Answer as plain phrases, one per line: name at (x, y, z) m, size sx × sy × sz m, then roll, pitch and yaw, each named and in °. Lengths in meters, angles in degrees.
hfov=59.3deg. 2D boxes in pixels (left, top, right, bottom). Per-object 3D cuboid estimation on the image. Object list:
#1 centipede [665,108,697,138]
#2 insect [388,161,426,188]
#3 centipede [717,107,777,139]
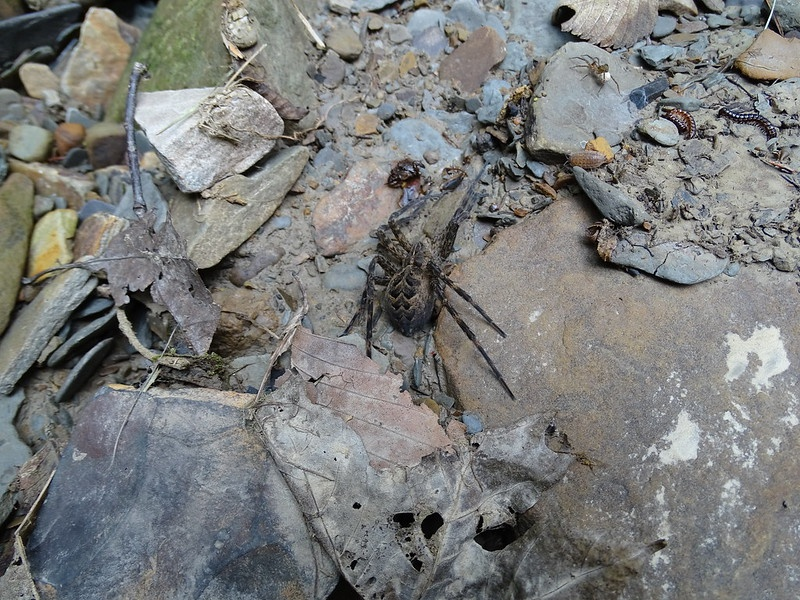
centipede at (1.923, -1.228, 4.783) m, size 0.143 × 0.059 × 0.231 m, roll -41°, pitch 70°, yaw 13°
insect at (0.042, -0.939, 5.184) m, size 0.270 × 0.122 × 0.184 m, roll -1°, pitch 73°, yaw -1°
centipede at (2.347, -1.190, 4.737) m, size 0.349 × 0.074 × 0.090 m, roll 29°, pitch 81°, yaw 43°
